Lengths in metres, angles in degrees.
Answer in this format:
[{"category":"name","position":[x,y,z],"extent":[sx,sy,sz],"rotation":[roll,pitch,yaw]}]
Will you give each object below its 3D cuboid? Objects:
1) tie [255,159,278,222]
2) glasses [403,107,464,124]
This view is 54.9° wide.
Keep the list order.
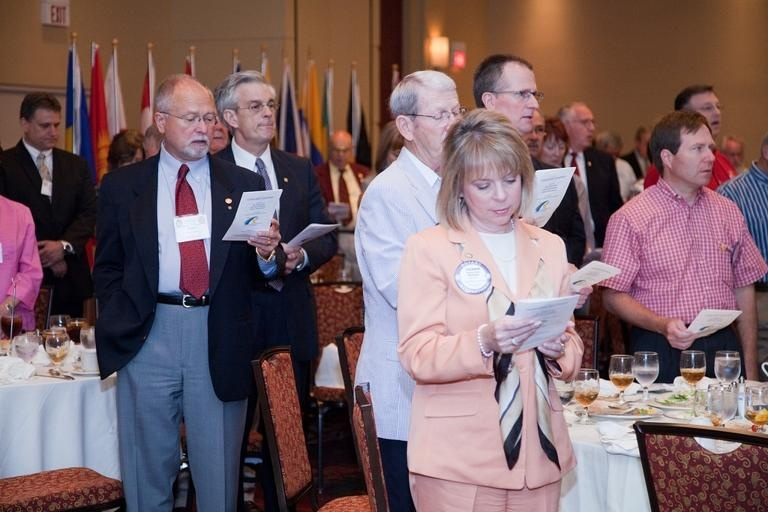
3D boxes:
[{"category":"tie","position":[-0.636,-0.339,4.011],"extent":[0.051,0.398,0.055],"rotation":[-13,-6,1]},{"category":"glasses","position":[0.232,-0.603,3.243],"extent":[0.120,0.041,0.118],"rotation":[-4,2,43]}]
